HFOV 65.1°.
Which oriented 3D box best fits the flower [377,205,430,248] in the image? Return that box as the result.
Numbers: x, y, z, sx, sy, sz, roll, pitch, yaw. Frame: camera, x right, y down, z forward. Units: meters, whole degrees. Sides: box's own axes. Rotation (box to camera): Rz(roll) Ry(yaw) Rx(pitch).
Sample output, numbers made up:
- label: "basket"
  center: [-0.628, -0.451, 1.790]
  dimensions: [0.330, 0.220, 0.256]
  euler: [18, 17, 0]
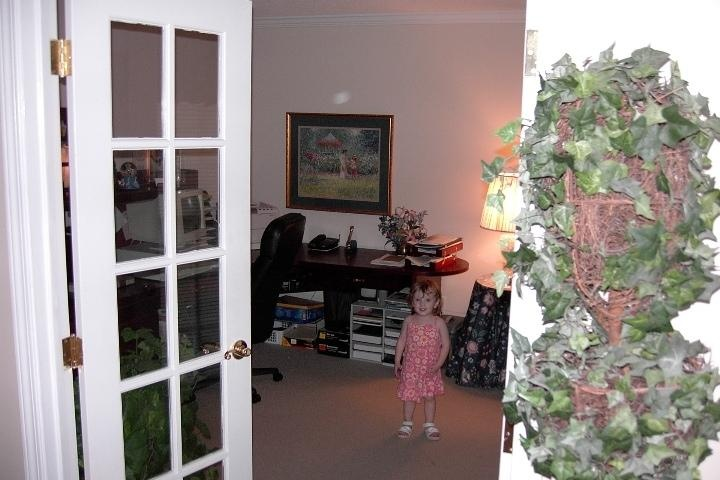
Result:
- label: "flower"
  center: [0.413, -0.167, 5.430]
  dimensions: [0.426, 0.392, 0.418]
  euler: [-2, 11, -6]

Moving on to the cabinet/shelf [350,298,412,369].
- label: "cabinet/shelf"
  center: [0.255, 0.844, 5.141]
  dimensions: [0.634, 0.533, 0.247]
  euler: [3, 5, 23]

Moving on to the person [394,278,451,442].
- label: "person"
  center: [0.438, 0.834, 4.023]
  dimensions: [0.361, 1.023, 0.516]
  euler: [3, 15, 4]

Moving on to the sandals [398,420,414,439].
- label: "sandals"
  center: [0.326, 1.322, 3.976]
  dimensions: [0.095, 0.085, 0.164]
  euler: [5, 15, 13]

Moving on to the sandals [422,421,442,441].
- label: "sandals"
  center: [0.507, 1.345, 3.922]
  dimensions: [0.065, 0.055, 0.134]
  euler: [-1, 1, -11]

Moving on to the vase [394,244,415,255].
- label: "vase"
  center: [0.413, 0.102, 4.989]
  dimensions: [0.115, 0.080, 0.113]
  euler: [2, 8, 7]

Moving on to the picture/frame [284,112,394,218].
- label: "picture/frame"
  center: [-0.173, -0.792, 5.766]
  dimensions: [1.166, 0.966, 0.048]
  euler: [3, 7, 15]

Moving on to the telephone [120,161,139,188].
- label: "telephone"
  center: [-0.877, -0.239, 2.134]
  dimensions: [0.082, 0.102, 0.084]
  euler: [-1, 9, -19]

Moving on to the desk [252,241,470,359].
- label: "desk"
  center: [-0.318, 0.637, 5.418]
  dimensions: [1.886, 0.963, 0.749]
  euler: [-1, -16, 27]
